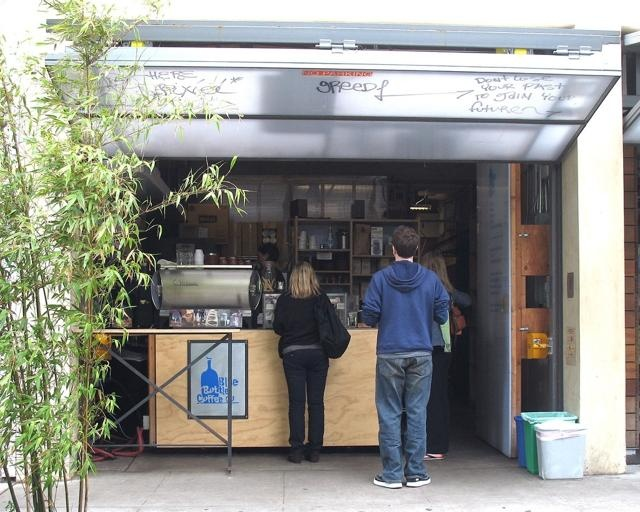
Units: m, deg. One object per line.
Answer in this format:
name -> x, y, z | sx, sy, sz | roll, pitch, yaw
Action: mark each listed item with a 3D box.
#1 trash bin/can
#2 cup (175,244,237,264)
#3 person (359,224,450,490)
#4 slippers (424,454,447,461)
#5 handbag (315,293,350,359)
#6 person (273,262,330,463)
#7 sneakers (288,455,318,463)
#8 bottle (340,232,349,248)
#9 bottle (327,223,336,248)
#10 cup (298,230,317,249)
trash bin/can -> 1.978, 1.633, 6.253 | 0.452, 0.576, 0.513 | 3, -9, -15
cup -> -1.456, -0.030, 9.114 | 0.455, 0.221, 0.267 | 1, -2, 3
person -> 0.703, 0.836, 6.059 | 0.694, 2.167, 0.302 | 0, 0, 9
slippers -> 1.088, 1.901, 6.864 | 0.143, 0.062, 0.070 | 3, -5, -4
handbag -> 0.101, 0.654, 6.697 | 0.301, 0.593, 0.231 | 0, 0, 24
person -> -0.187, 0.984, 6.773 | 0.507, 1.844, 0.283 | 0, 0, -1
sneakers -> -0.154, 1.868, 6.723 | 0.281, 0.082, 0.145 | 0, 0, -13
bottle -> 0.343, -0.210, 10.304 | 0.121, 0.234, 0.111 | 0, 0, 0
bottle -> 0.161, -0.284, 10.421 | 0.117, 0.328, 0.186 | 0, 0, 0
cup -> -0.190, -0.219, 10.375 | 0.307, 0.332, 0.185 | 0, -3, -1
